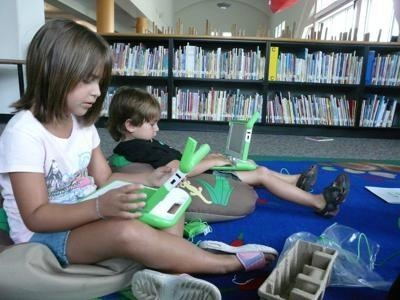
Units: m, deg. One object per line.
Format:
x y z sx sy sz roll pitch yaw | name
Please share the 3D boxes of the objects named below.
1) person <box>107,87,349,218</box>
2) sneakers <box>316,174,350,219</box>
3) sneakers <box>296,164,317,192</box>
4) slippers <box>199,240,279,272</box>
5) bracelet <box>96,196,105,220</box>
0.106 0.025 1.557 1.119 0.657 0.590 -1 3 5 | person
0.587 0.232 1.321 0.091 0.227 0.081 1 28 -16 | sneakers
0.555 0.160 1.534 0.076 0.185 0.061 10 20 -6 | sneakers
0.133 0.334 0.994 0.256 0.078 0.101 6 11 17 | slippers
-0.282 0.169 0.797 0.011 0.045 0.044 -5 -6 2 | bracelet
